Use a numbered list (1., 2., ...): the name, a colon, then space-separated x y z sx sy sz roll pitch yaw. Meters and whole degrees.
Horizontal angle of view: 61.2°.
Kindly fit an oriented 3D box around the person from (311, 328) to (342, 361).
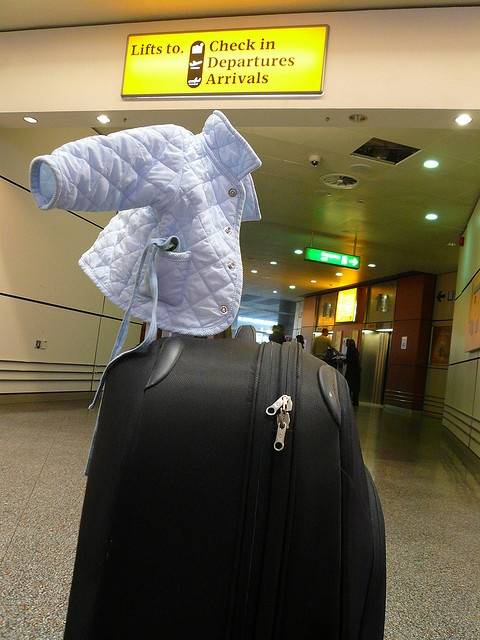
1. person: 2.502 0.607 9.983 0.879 1.147 0.638 1 -9 -1
